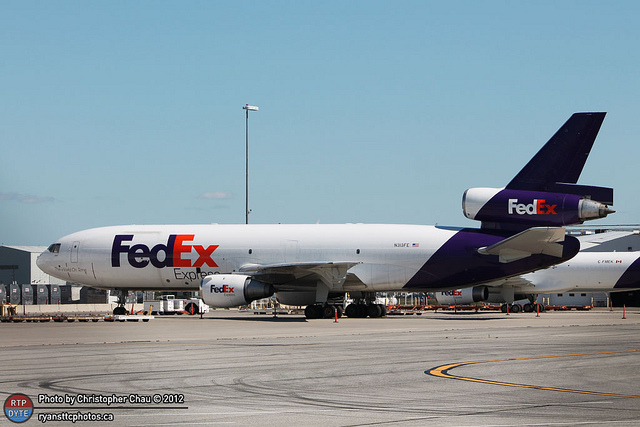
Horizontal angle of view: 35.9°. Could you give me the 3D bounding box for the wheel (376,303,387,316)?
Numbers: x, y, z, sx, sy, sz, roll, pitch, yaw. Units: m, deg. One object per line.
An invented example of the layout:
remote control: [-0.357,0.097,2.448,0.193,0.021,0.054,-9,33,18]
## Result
wheel: [3.551,5.267,54.748,0.718,0.584,0.707,-1,7,0]

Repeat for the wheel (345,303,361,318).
wheel: [1.780,5.197,53.432,1.040,0.754,0.677,-4,-4,7]

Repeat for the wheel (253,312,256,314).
wheel: [-4.199,6.340,63.605,0.273,0.133,0.127,-1,2,1]

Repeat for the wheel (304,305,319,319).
wheel: [-0.385,5.056,51.462,0.672,0.678,0.334,-1,-8,2]

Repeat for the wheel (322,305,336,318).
wheel: [0.440,5.038,51.107,0.884,0.644,0.251,-1,4,11]

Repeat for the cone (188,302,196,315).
cone: [-7.985,5.972,61.639,0.555,0.510,0.539,0,-12,1]

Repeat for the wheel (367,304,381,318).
wheel: [2.917,5.243,53.812,0.812,0.597,0.703,-2,-9,8]
